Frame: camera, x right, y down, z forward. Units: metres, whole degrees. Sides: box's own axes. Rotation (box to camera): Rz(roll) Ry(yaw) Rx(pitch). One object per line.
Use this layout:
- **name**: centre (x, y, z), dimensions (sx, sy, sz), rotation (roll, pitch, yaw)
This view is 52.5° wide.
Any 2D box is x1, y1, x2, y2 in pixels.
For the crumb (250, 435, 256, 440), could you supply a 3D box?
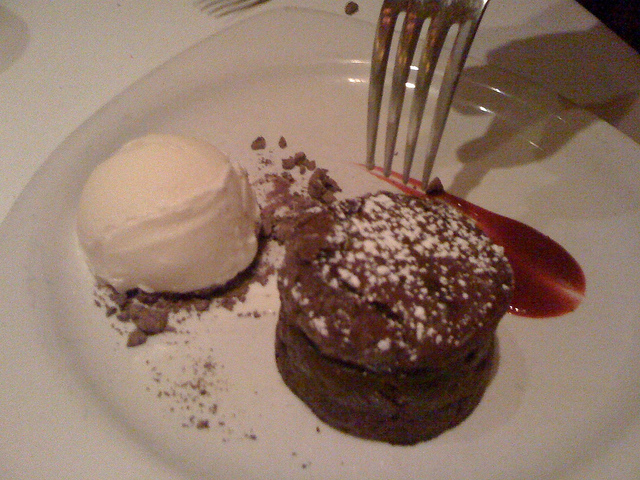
- **crumb**: centre (-0.263, 0.777, 2.563), dimensions (0.015, 0.005, 0.015), rotation (4, 41, -2)

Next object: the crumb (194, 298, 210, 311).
- **crumb**: centre (-0.505, 0.271, 2.780), dimensions (0.046, 0.013, 0.046), rotation (-10, 57, 0)

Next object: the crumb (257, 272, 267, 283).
- **crumb**: centre (-0.261, 0.160, 2.817), dimensions (0.038, 0.010, 0.037), rotation (-5, 64, 0)

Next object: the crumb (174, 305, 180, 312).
- **crumb**: centre (-0.611, 0.292, 2.775), dimensions (0.022, 0.004, 0.028), rotation (-9, 75, 0)

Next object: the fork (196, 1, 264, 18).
- **fork**: centre (-0.462, -1.173, 3.281), dimensions (0.350, 0.059, 0.096), rotation (7, 75, 4)

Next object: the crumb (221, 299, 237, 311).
- **crumb**: centre (-0.393, 0.278, 2.787), dimensions (0.048, 0.012, 0.047), rotation (-18, 79, 3)
